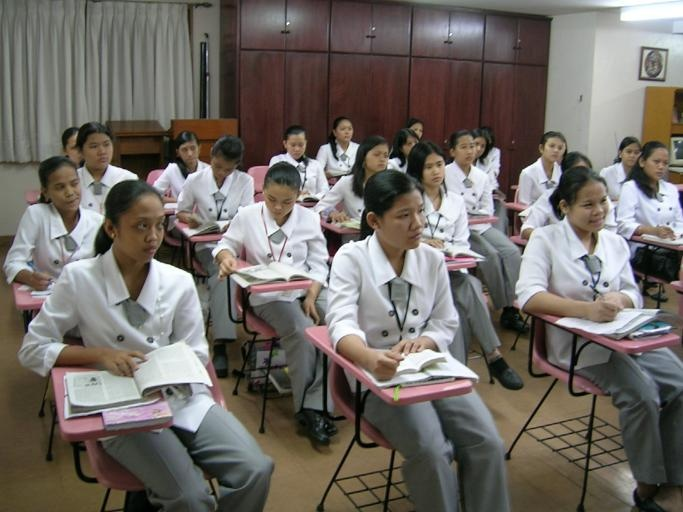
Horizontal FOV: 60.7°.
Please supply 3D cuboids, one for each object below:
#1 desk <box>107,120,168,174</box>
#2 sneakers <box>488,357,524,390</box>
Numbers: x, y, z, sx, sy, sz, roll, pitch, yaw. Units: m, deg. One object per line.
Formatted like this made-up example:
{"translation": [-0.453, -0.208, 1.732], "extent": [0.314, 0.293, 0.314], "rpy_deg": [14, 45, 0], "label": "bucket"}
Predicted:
{"translation": [-2.218, -1.197, 6.477], "extent": [0.545, 0.909, 0.748], "rpy_deg": [-5, 17, -21], "label": "desk"}
{"translation": [1.013, 0.737, 3.647], "extent": [0.129, 0.106, 0.266], "rpy_deg": [-31, 59, -10], "label": "sneakers"}
